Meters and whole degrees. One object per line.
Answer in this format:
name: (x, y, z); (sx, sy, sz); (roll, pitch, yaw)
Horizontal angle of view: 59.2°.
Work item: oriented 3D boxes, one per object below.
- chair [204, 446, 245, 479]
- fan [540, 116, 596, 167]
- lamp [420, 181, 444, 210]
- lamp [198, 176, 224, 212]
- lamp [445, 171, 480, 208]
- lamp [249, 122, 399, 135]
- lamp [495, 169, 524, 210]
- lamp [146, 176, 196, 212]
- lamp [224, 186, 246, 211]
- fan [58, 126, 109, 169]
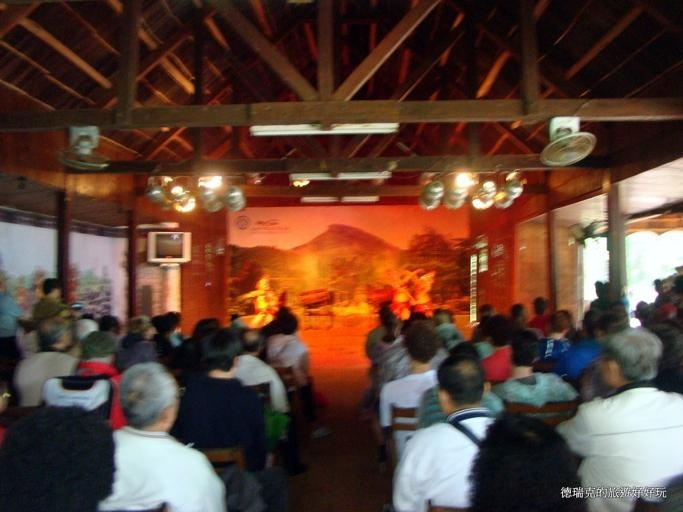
chair: (-0.686, 1.195, 3.518); (0.200, 0.125, 0.181); (0, -9, -4)
fan: (2.144, -1.097, 5.718); (0.449, 0.360, 0.464); (-1, -5, 6)
lamp: (1.212, -0.809, 8.043); (0.277, 0.384, 0.163); (21, 14, 7)
lamp: (-1.693, -0.833, 7.786); (0.326, 0.447, 0.416); (1, -5, -13)
lamp: (1.632, -0.901, 8.179); (0.460, 0.487, 0.940); (-1, -5, 11)
lamp: (-0.174, -1.202, 5.728); (1.419, 0.078, 0.349); (-1, -4, 9)
lamp: (2.200, -0.926, 7.928); (0.313, 0.476, 0.608); (-1, -5, 8)
lamp: (-2.344, -0.897, 8.235); (0.555, 0.451, 0.745); (0, -5, 0)
lamp: (-1.351, -0.729, 7.674); (0.252, 0.298, 0.327); (-5, 3, -42)
fan: (-2.408, -1.021, 5.699); (0.428, 0.351, 0.397); (3, 9, -6)
